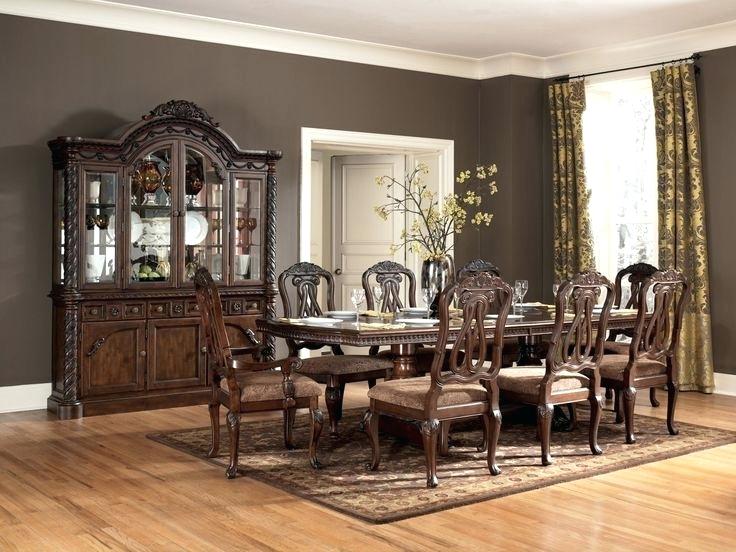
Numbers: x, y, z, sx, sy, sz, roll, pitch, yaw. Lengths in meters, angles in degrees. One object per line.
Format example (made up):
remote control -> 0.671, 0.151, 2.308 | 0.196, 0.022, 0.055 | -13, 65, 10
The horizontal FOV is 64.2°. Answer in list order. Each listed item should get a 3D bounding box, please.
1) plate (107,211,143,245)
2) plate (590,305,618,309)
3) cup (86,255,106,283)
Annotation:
plate -> -2.165, -0.442, 5.263 | 0.299, 0.291, 0.044 | 0, 0, -39
plate -> 1.936, 0.249, 4.820 | 0.150, 0.034, 0.147 | -1, 1, -20
cup -> -2.381, -0.072, 5.127 | 0.199, 0.209, 0.195 | -1, -2, 0
